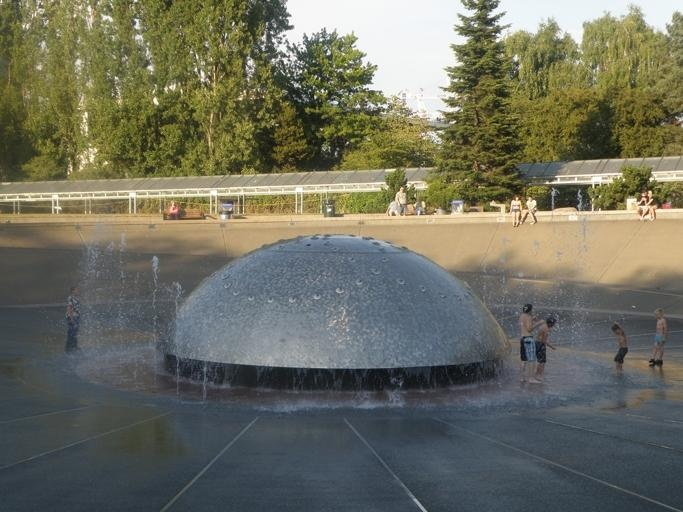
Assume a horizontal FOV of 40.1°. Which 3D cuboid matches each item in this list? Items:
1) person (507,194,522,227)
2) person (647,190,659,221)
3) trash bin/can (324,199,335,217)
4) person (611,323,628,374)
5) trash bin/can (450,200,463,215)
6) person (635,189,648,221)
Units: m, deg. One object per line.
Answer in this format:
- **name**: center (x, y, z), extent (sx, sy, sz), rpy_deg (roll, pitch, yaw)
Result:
- **person**: center (9.070, -2.373, 48.263), extent (0.581, 1.402, 1.767), rpy_deg (3, 13, 10)
- **person**: center (15.733, -2.620, 47.309), extent (0.520, 1.322, 1.819), rpy_deg (4, 14, 18)
- **trash bin/can**: center (-0.654, -2.808, 55.032), extent (0.591, 0.959, 1.001), rpy_deg (-1, 13, -5)
- **person**: center (9.217, 3.115, 30.943), extent (0.452, 0.480, 1.327), rpy_deg (2, 26, 21)
- **trash bin/can**: center (6.909, -2.935, 55.208), extent (0.873, 0.995, 0.697), rpy_deg (5, 12, 13)
- **person**: center (15.366, -2.535, 47.451), extent (0.493, 1.173, 1.456), rpy_deg (5, 14, 18)
